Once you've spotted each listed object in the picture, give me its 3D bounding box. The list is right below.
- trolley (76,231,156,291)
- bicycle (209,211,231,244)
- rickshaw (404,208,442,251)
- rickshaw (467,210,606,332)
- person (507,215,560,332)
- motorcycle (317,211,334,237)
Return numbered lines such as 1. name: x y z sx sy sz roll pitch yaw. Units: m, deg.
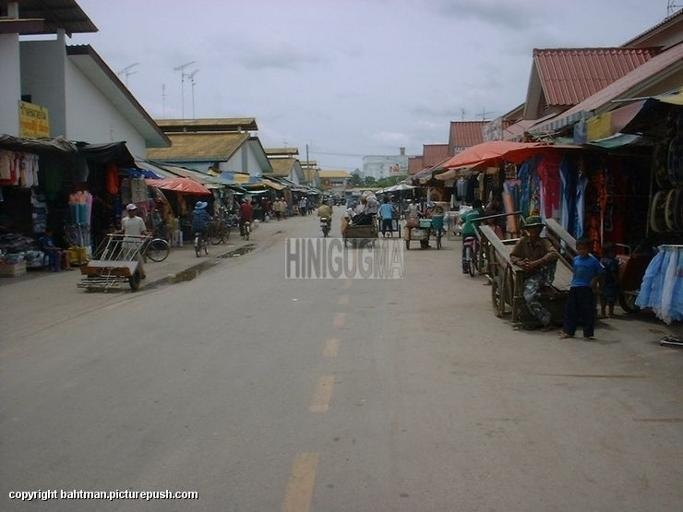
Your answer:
1. trolley: -5.227 0.174 13.574 1.111 1.224 1.847 2 16 5
2. bicycle: -5.804 -1.269 25.934 0.864 1.285 1.938 0 3 0
3. rickshaw: 3.102 -1.176 22.654 1.387 1.701 1.314 2 6 -14
4. rickshaw: 3.028 0.262 9.625 1.171 0.763 1.939 -4 30 -9
5. person: 3.116 0.252 9.126 0.625 1.694 0.733 -3 8 -25
6. motorcycle: -0.856 -1.601 27.219 0.688 0.958 1.368 1 12 4
